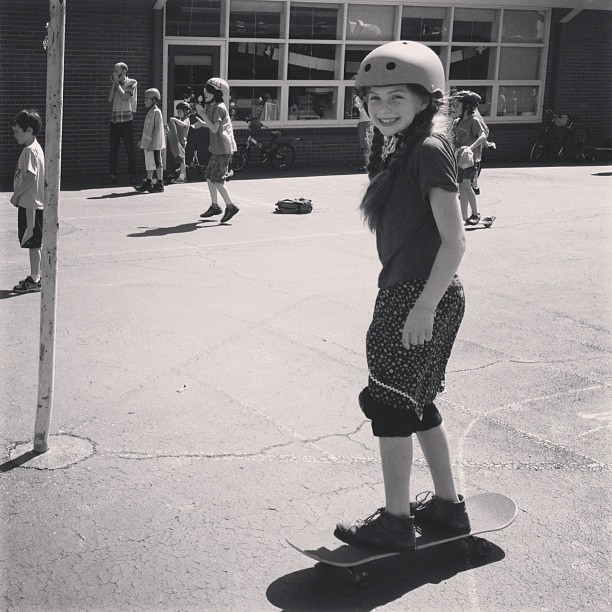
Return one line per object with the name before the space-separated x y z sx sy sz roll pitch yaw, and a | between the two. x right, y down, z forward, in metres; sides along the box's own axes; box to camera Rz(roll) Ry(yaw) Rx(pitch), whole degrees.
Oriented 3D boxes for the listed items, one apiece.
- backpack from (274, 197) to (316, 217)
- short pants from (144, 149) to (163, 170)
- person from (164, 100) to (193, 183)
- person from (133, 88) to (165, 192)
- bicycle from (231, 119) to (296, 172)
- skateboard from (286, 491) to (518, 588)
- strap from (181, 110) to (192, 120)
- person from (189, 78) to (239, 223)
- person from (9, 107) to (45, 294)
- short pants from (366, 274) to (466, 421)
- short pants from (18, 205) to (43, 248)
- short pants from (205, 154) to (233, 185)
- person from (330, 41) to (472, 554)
backpack | -0.215 -1.905 11.996 0.742 0.278 0.540 -2 13 -17
short pants | -3.272 -3.190 13.662 0.286 0.426 0.584 3 12 9
person | -3.031 -4.036 15.438 0.621 1.953 1.390 -1 12 -12
person | -3.348 -3.650 13.841 0.527 2.205 1.119 0 12 -7
bicycle | -1.243 -4.575 17.950 2.106 1.370 0.953 -5 20 -24
skateboard | 0.435 0.913 2.565 1.068 0.179 0.340 -6 9 -24
strap | -2.849 -4.584 15.052 0.148 0.209 0.115 12 -7 30
person | -1.502 -2.673 10.814 0.665 2.389 0.770 -2 12 -15
person | -2.788 -1.057 6.397 0.362 1.843 0.498 -3 13 -23
short pants | 0.408 0.144 2.462 0.280 0.573 0.420 9 14 33
short pants | -2.776 -0.817 6.459 0.220 0.426 0.235 -3 13 -22
short pants | -1.489 -2.372 10.819 0.409 0.499 0.242 0 12 -9
person | 0.415 -0.011 2.391 0.534 1.936 0.444 3 12 9
